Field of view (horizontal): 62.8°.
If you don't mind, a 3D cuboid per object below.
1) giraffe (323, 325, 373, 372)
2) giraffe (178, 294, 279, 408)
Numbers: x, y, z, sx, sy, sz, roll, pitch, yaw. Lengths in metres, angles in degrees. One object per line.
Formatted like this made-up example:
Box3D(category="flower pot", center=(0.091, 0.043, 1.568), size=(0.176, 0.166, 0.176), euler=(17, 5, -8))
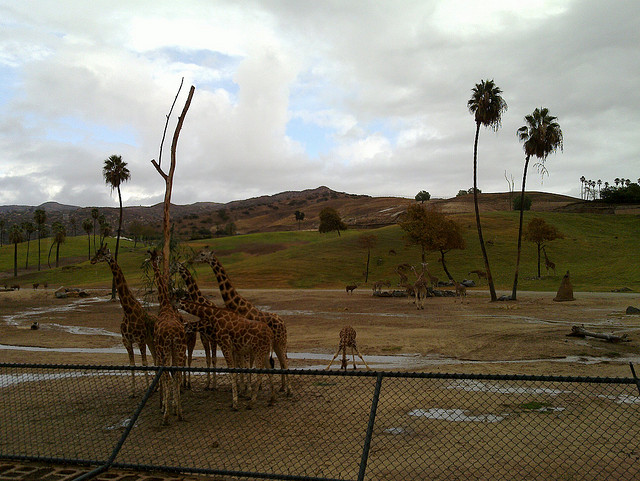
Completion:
Box3D(category="giraffe", center=(1.015, 3.617, 18.306), size=(1.089, 1.284, 2.226), euler=(4, -3, 9))
Box3D(category="giraffe", center=(-2.500, 3.051, 14.915), size=(2.346, 2.441, 3.603), euler=(-4, 2, -23))
